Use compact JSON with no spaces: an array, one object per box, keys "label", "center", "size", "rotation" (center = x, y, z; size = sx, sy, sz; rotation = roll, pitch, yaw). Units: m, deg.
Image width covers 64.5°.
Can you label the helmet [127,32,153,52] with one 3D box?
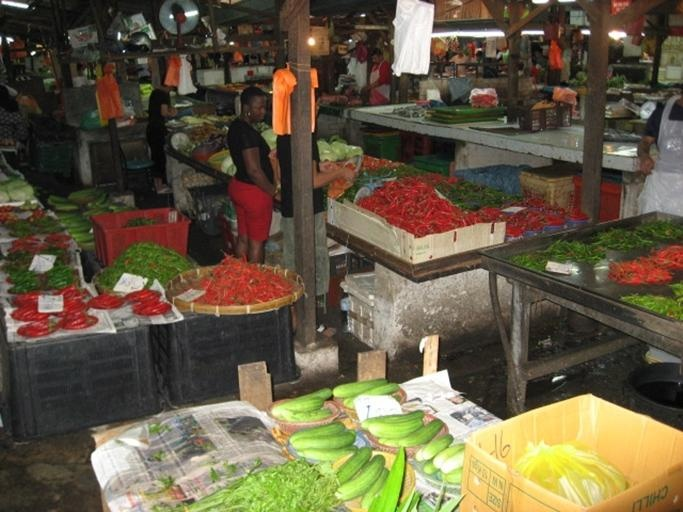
[{"label":"helmet","center":[-3.286,-3.516,8.888],"size":[0.390,0.297,0.162],"rotation":[0,19,11]}]

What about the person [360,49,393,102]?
[{"label":"person","center":[0.903,-4.384,13.290],"size":[0.681,1.343,1.700],"rotation":[-2,17,6]}]
